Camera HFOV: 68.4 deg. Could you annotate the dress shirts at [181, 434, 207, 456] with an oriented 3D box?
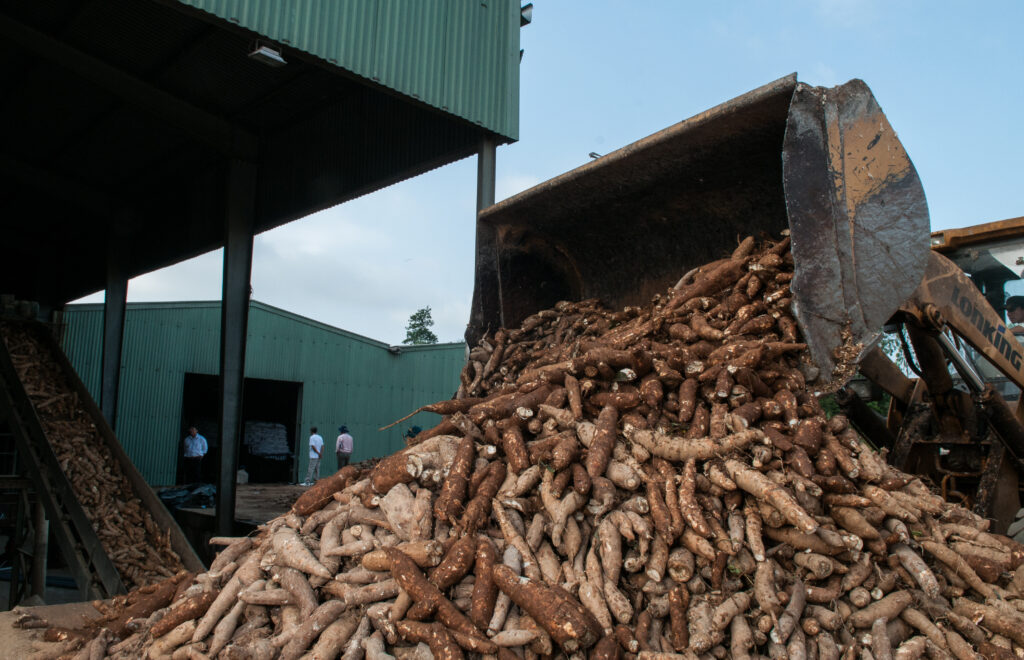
[{"bbox_3d":[-9.047,3.311,21.310,0.701,0.726,0.418,8,-31,-11],"label":"dress shirts"}]
